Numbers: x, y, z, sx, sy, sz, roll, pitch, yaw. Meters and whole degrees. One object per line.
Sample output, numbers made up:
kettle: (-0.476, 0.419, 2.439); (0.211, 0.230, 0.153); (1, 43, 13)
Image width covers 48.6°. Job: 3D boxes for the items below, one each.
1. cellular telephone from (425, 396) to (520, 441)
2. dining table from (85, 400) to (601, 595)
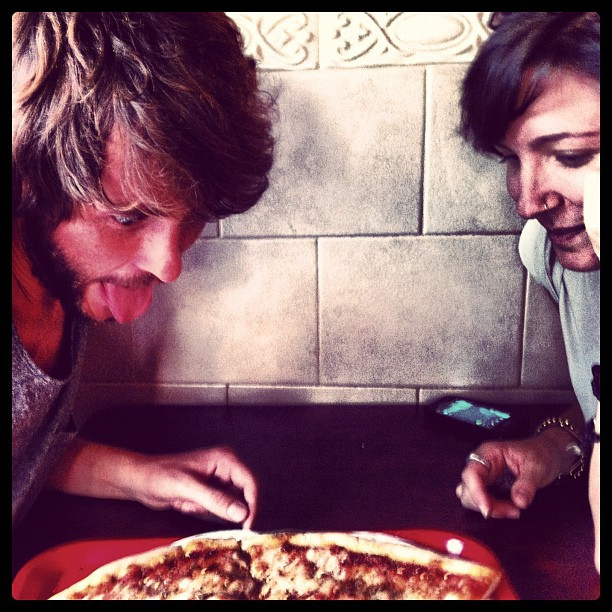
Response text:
cellular telephone: (0.383, 0.224, 1.547); (0.179, 0.051, 0.098); (13, 30, 30)
dining table: (0.142, 0.481, 1.996); (0.924, 0.460, 0.248); (-1, -7, 2)
